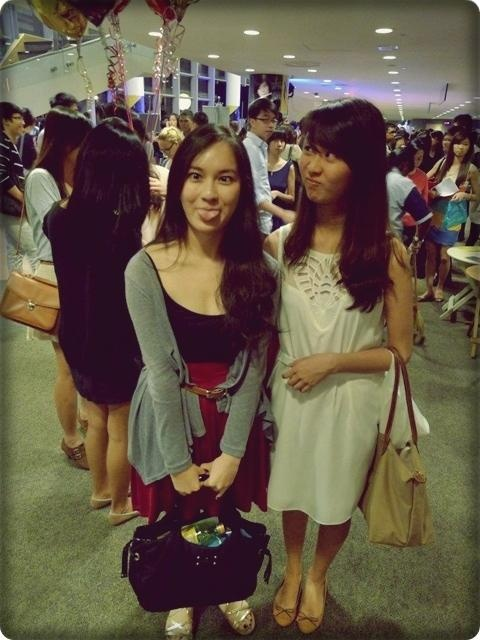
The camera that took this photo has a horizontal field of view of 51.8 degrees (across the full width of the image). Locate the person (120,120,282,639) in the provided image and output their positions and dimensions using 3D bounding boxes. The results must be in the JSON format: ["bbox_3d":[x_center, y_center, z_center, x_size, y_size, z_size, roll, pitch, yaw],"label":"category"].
[{"bbox_3d":[-0.083,0.054,1.249,0.430,1.029,0.259,-5,14,-17],"label":"person"}]

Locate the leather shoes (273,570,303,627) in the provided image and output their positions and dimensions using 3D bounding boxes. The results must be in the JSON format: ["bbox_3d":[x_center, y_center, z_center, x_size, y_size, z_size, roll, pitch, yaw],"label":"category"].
[{"bbox_3d":[0.156,0.918,1.653,0.054,0.078,0.181,0,12,10],"label":"leather shoes"}]

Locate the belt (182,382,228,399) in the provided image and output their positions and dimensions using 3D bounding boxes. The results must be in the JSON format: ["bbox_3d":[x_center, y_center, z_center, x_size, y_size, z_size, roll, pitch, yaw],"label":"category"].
[{"bbox_3d":[-0.090,0.174,1.226,0.061,0.022,0.054,8,-7,13],"label":"belt"}]

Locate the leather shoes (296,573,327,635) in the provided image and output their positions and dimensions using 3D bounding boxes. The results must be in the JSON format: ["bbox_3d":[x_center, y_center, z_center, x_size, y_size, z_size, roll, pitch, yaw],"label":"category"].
[{"bbox_3d":[0.233,0.920,1.601,0.058,0.080,0.190,-6,24,16],"label":"leather shoes"}]

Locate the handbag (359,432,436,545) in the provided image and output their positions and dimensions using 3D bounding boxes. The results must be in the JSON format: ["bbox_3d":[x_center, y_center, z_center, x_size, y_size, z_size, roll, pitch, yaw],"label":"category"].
[{"bbox_3d":[0.427,0.468,1.314,0.166,0.282,0.095,6,15,25],"label":"handbag"}]

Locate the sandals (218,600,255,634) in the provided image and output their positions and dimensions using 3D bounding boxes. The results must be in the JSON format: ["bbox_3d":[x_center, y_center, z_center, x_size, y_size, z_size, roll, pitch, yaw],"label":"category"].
[{"bbox_3d":[-0.010,0.940,1.627,0.061,0.054,0.173,-9,0,-24],"label":"sandals"}]
